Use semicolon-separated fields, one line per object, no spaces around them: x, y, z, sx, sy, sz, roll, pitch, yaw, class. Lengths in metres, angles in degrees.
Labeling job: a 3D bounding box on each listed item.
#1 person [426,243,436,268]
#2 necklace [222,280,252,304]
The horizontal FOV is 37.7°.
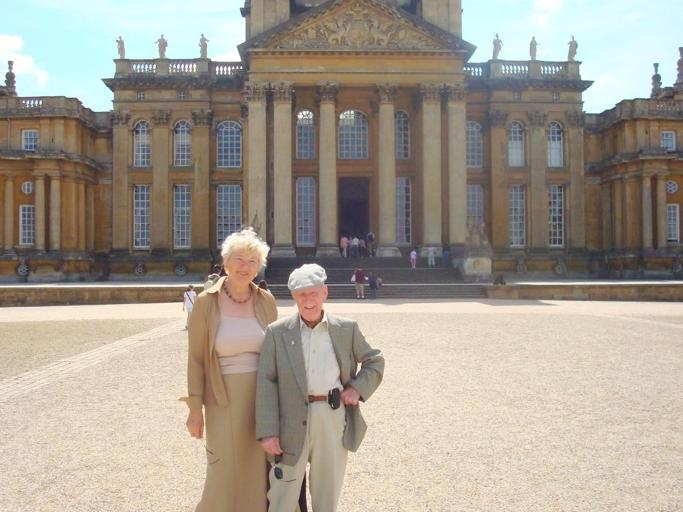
5.064;-0.037;56.072;0.461;1.079;1.630;-2;2;5;person
-2.783;1.028;26.218;0.536;0.722;0.264;-1;13;4;necklace
